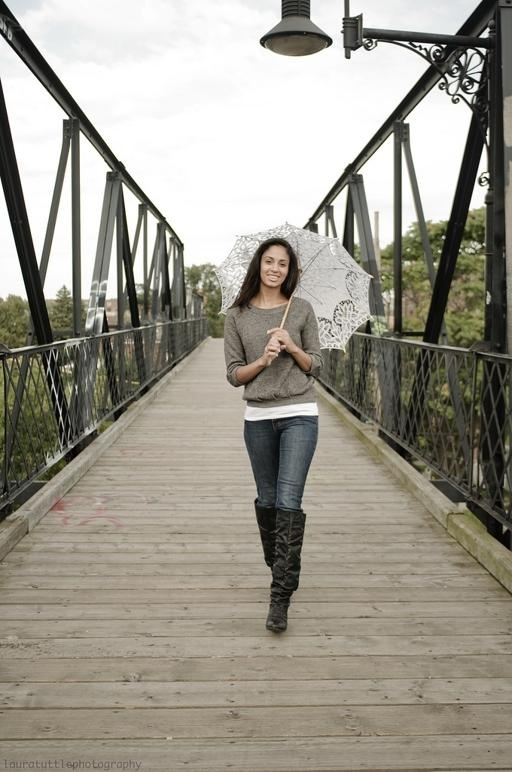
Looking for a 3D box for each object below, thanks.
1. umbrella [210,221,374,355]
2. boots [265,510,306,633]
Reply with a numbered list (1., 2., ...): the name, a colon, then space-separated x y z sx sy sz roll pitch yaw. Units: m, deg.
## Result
1. umbrella: 0.300 -0.402 3.523 0.666 0.746 0.231 7 1 10
2. boots: 0.095 0.596 2.371 0.090 0.351 0.223 1 10 16
